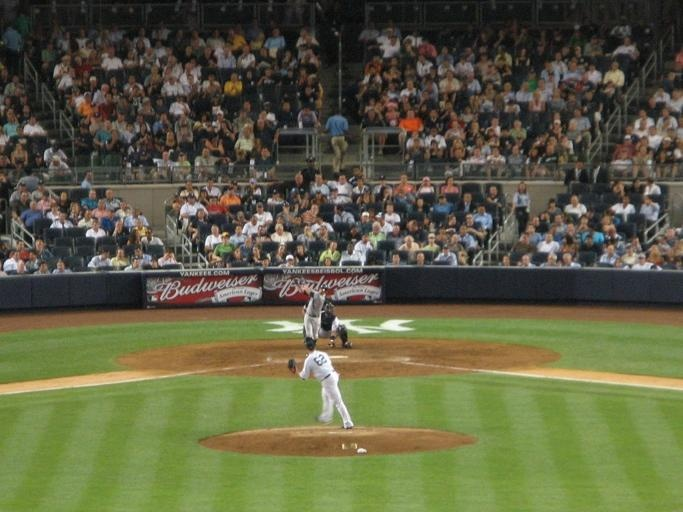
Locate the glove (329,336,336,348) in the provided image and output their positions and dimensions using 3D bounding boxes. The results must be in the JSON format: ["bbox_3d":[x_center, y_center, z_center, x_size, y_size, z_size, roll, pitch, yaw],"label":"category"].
[{"bbox_3d":[-0.251,2.231,39.171,0.145,0.334,0.311,1,23,2],"label":"glove"}]

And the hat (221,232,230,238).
[{"bbox_3d":[-3.573,-0.714,45.353,0.224,0.188,0.300,0,25,-4],"label":"hat"}]

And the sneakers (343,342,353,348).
[{"bbox_3d":[0.146,2.267,38.887,0.186,0.208,0.123,-3,29,-2],"label":"sneakers"}]

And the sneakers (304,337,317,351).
[{"bbox_3d":[-0.714,1.940,33.142,0.227,0.295,0.302,-1,23,-6],"label":"sneakers"}]

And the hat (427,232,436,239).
[{"bbox_3d":[2.761,-0.668,45.288,0.154,0.232,0.217,-1,-6,0],"label":"hat"}]

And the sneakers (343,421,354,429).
[{"bbox_3d":[0.139,3.729,33.090,0.220,0.246,0.141,0,6,11],"label":"sneakers"}]
